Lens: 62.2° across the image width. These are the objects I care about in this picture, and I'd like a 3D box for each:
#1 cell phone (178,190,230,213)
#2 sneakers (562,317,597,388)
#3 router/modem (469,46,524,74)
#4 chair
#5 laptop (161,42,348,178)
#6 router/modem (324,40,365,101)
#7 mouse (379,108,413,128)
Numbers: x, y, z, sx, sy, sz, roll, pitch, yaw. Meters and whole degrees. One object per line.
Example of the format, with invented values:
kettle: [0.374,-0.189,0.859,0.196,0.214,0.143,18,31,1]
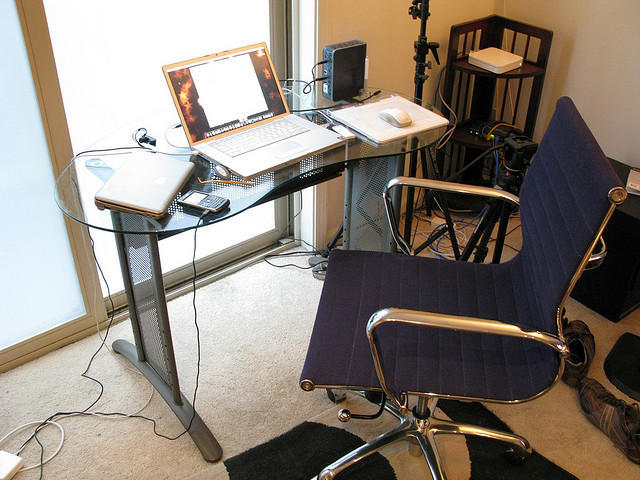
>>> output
cell phone: [-0.390,-0.128,1.792,0.128,0.029,0.079,14,45,10]
sneakers: [1.092,0.472,2.334,0.178,0.136,0.328,16,35,12]
router/modem: [0.921,-0.957,2.833,0.201,0.050,0.209,27,45,31]
chair: [0.387,0.056,1.683,0.849,0.783,0.643,-2,34,3]
laptop: [-0.248,-0.506,2.005,0.562,0.303,0.578,-14,35,-17]
router/modem: [0.106,-0.735,2.324,0.193,0.218,0.082,-28,48,-28]
mouse: [0.311,-0.494,2.211,0.066,0.040,0.119,-25,43,-28]
